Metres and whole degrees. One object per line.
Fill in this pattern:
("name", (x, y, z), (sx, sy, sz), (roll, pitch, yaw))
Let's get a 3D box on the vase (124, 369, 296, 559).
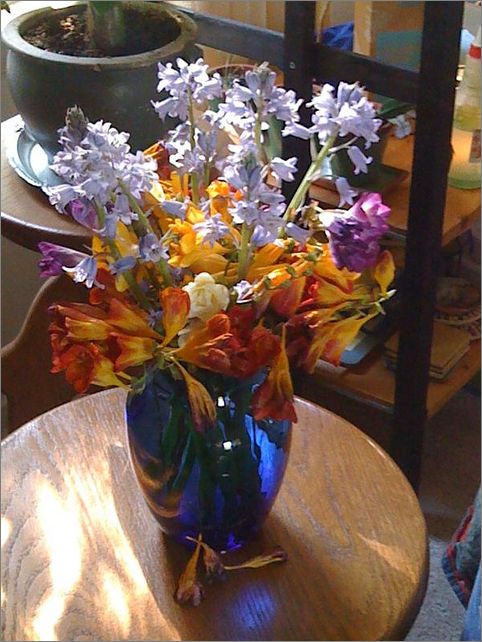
("vase", (-0.028, 0.101, 0.451), (0.113, 0.129, 0.118), (0, 4, 41))
